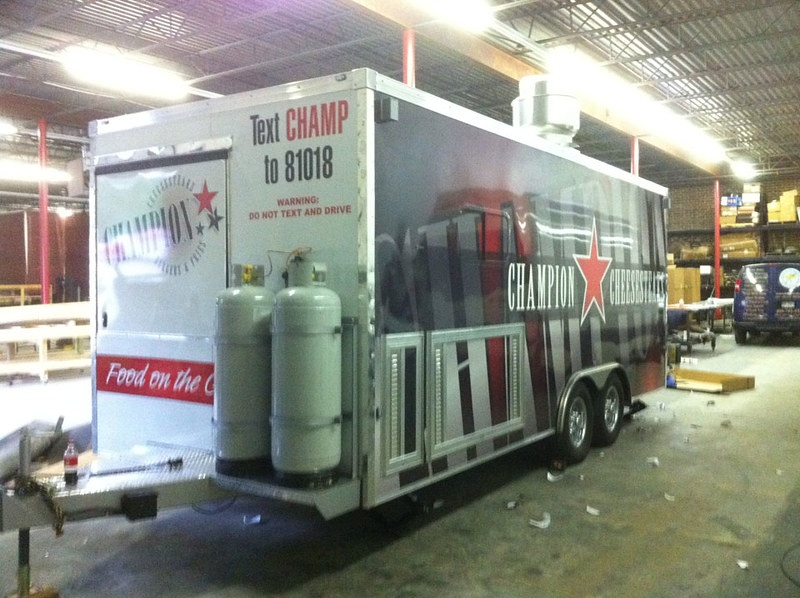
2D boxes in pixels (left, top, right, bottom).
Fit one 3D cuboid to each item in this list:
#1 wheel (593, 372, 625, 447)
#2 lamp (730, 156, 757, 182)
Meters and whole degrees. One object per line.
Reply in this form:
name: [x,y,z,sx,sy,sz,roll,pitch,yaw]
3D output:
wheel: [2.461,1.287,7.954,0.244,0.776,0.722,-5,-20,34]
lamp: [13.944,-5.355,27.084,0.982,0.816,2.874,2,5,28]
